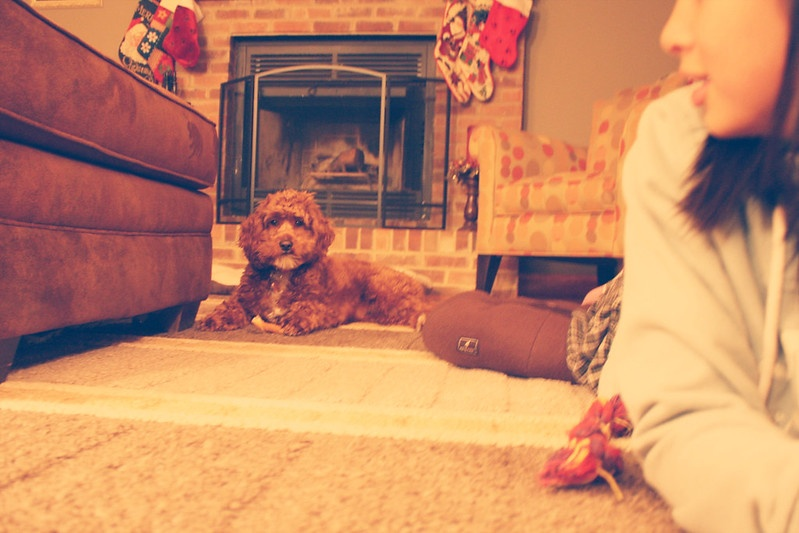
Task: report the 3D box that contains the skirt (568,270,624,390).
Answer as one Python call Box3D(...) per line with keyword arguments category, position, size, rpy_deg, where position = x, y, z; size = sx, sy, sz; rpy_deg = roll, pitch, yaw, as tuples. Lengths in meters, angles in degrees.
Box3D(category="skirt", position=(0.468, 0.149, 1.443), size=(0.087, 0.236, 0.187), rpy_deg=(16, 3, 3))

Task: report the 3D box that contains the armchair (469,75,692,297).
Box3D(category="armchair", position=(0.895, -0.374, 2.696), size=(0.878, 0.970, 0.785), rpy_deg=(5, 6, 44))

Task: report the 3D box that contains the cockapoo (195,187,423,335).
Box3D(category="cockapoo", position=(-0.283, 0.008, 2.493), size=(0.722, 0.524, 1.043), rpy_deg=(3, -3, 24))
